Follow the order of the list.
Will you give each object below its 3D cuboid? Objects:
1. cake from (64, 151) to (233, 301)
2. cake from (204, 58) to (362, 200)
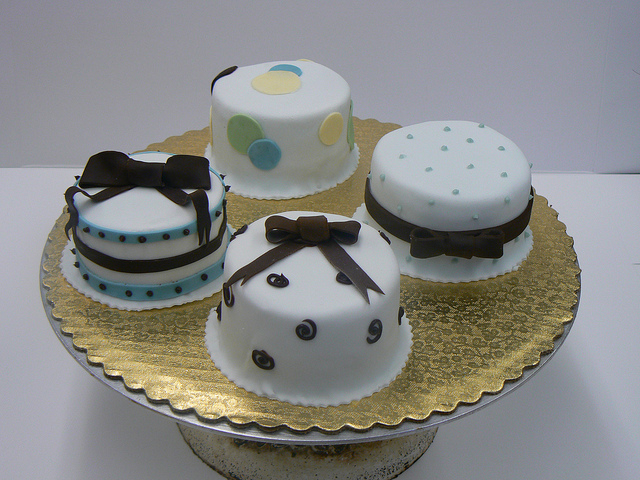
[{"bbox_3d":[-1.225,-0.091,5.814,1.107,0.684,0.803,-2,50,-2],"label":"cake"},{"bbox_3d":[-0.365,-1.056,7.087,1.273,0.715,1.421,-11,39,-22],"label":"cake"}]
